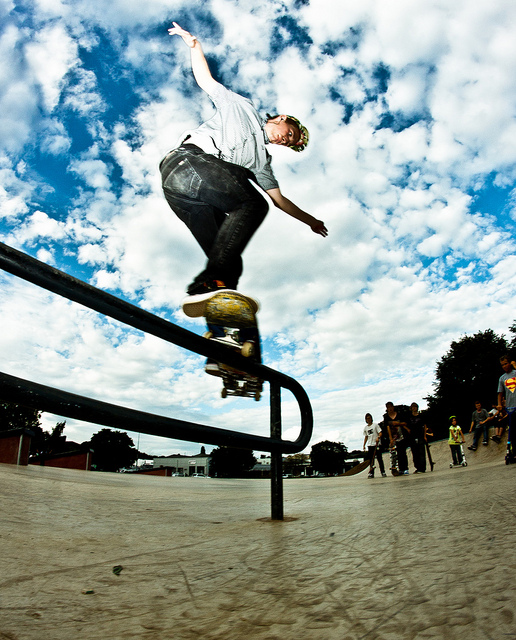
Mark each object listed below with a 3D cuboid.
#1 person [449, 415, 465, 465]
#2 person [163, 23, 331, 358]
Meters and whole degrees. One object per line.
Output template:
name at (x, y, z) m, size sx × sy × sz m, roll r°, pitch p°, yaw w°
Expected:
person at (4.025, 2.425, 9.433) m, size 0.248 × 0.963 × 0.738 m, roll -6°, pitch -14°, yaw 21°
person at (-0.146, -0.744, 2.514) m, size 0.715 × 1.934 × 0.492 m, roll 5°, pitch -15°, yaw -19°
